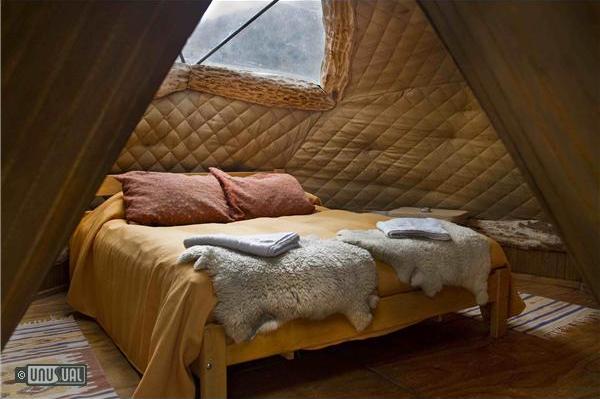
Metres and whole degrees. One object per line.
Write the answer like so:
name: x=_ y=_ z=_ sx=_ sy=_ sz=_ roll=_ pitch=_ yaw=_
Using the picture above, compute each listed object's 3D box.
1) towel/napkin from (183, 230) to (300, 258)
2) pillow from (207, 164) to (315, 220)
towel/napkin: x=-0.277 y=0.206 z=1.934 sx=0.521 sy=0.088 sz=0.245 roll=0 pitch=5 yaw=6
pillow: x=-0.152 y=0.033 z=3.521 sx=0.914 sy=0.191 sz=0.852 roll=6 pitch=-11 yaw=-22
